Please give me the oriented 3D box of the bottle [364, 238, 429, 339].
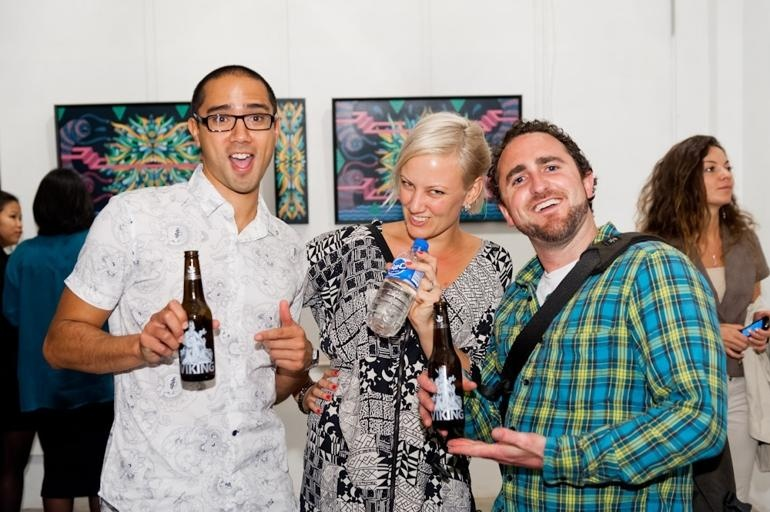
[{"bbox_3d":[0.048,0.139,2.701,0.237,0.437,0.203,2,3,-1],"label":"bottle"}]
